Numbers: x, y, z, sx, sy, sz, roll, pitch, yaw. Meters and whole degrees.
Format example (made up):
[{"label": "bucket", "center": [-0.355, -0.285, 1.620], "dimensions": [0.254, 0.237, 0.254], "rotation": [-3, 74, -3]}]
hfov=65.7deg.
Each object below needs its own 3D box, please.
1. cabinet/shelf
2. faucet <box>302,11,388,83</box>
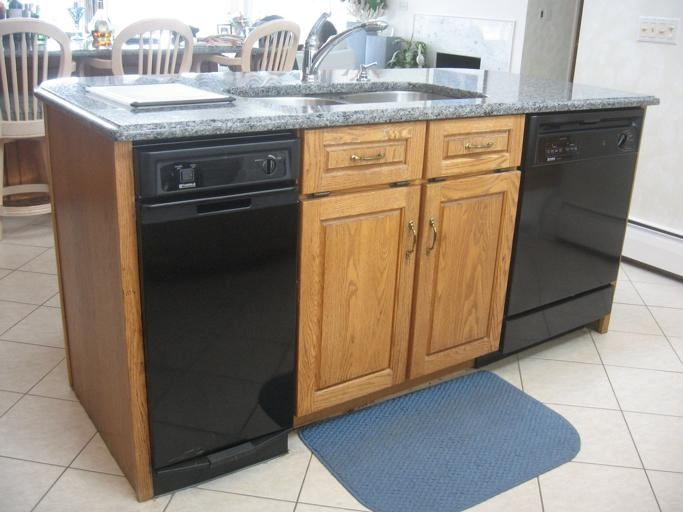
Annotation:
[{"label": "cabinet/shelf", "center": [0.217, 0.054, 1.844], "dimensions": [0.979, 1.024, 0.593], "rotation": [-12, 24, -28]}, {"label": "faucet", "center": [-0.027, -0.859, 2.199], "dimensions": [0.304, 0.265, 0.457], "rotation": [-5, 20, -14]}]
